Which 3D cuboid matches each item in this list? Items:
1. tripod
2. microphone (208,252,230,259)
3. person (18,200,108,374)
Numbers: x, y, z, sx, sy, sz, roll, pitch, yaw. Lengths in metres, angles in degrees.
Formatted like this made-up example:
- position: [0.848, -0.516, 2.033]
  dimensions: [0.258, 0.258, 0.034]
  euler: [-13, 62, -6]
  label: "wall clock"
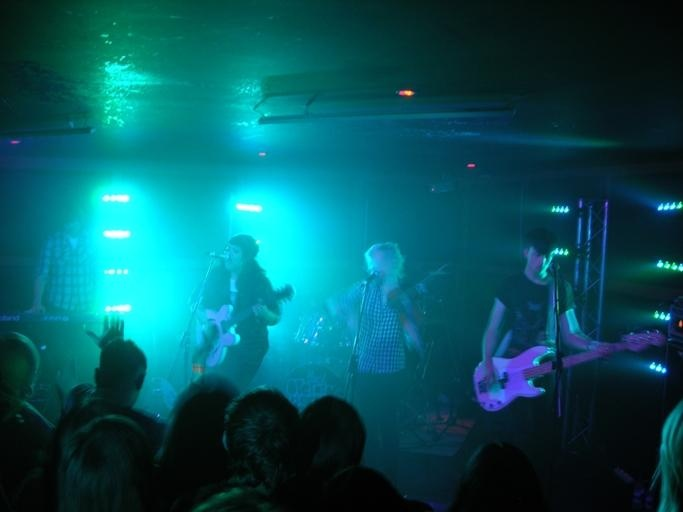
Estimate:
- position: [1.562, 1.643, 9.080]
  dimensions: [0.798, 1.917, 0.264]
  euler: [-7, -17, -4]
  label: "tripod"
- position: [-1.581, -0.016, 7.843]
  dimensions: [0.111, 0.051, 0.160]
  euler: [12, 2, 42]
  label: "microphone"
- position: [-4.431, 0.794, 9.830]
  dimensions: [1.044, 3.038, 0.785]
  euler: [3, 16, -28]
  label: "person"
